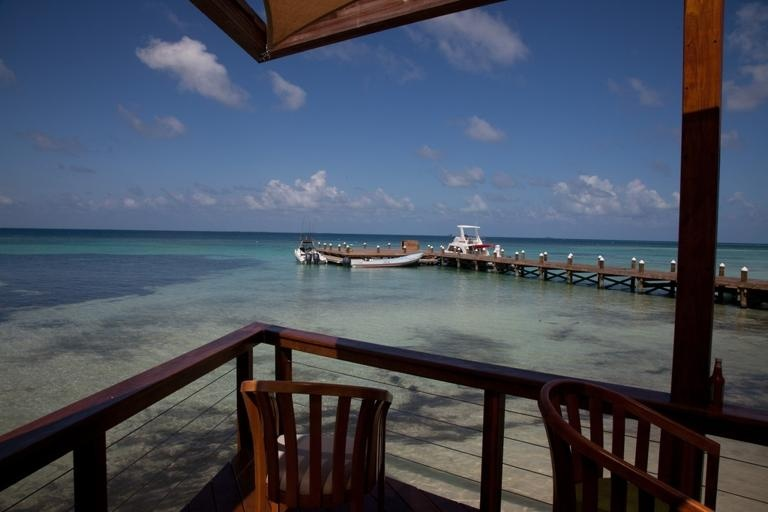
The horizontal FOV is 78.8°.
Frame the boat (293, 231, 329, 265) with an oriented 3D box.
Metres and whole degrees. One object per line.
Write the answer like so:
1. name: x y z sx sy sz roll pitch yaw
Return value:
1. boat: -7.390 -0.752 47.960 2.500 2.984 6.785 -1 10 -14
